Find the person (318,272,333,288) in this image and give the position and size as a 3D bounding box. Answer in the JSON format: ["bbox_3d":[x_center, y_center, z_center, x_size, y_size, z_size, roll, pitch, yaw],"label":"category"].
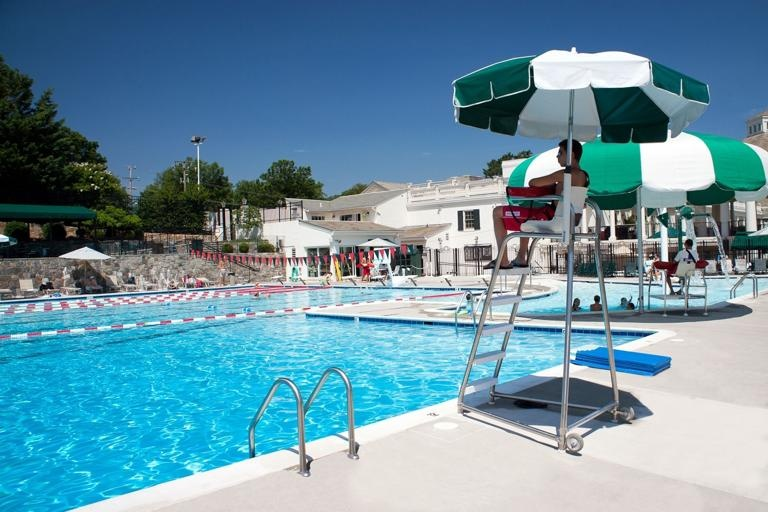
[{"bbox_3d":[-3.552,1.445,35.887,0.965,1.260,0.734,1,-5,-15],"label":"person"}]

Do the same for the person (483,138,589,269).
[{"bbox_3d":[1.955,-0.693,7.337,1.295,1.547,0.800,-2,-1,9],"label":"person"}]

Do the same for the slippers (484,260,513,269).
[{"bbox_3d":[1.485,0.127,7.431,0.432,0.137,0.136,3,2,13],"label":"slippers"}]
